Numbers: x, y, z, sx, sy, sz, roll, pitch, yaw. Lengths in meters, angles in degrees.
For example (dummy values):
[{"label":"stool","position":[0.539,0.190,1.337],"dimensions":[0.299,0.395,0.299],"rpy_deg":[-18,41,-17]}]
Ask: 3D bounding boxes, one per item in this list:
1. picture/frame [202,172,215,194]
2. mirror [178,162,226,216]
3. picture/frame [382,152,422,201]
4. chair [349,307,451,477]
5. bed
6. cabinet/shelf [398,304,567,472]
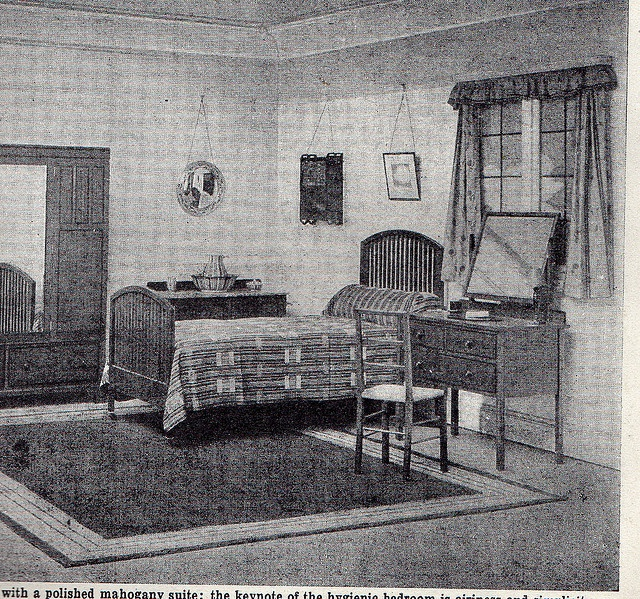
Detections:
[{"label":"picture/frame","position":[-0.904,-0.944,9.514],"dimensions":[0.039,0.156,0.160],"rpy_deg":[7,8,42]},{"label":"mirror","position":[-0.968,-0.903,9.480],"dimensions":[0.441,0.387,0.058],"rpy_deg":[18,-5,-35]},{"label":"picture/frame","position":[0.623,-0.916,8.711],"dimensions":[0.293,0.338,0.012],"rpy_deg":[3,12,32]},{"label":"chair","position":[0.414,0.572,6.886],"dimensions":[0.535,0.925,0.482],"rpy_deg":[-22,5,-19]},{"label":"bed","position":[-0.359,0.141,8.137],"dimensions":[1.984,1.022,1.126],"rpy_deg":[-5,12,-27]},{"label":"cabinet/shelf","position":[0.967,0.536,7.291],"dimensions":[0.607,0.784,0.936],"rpy_deg":[-4,8,-38]}]
